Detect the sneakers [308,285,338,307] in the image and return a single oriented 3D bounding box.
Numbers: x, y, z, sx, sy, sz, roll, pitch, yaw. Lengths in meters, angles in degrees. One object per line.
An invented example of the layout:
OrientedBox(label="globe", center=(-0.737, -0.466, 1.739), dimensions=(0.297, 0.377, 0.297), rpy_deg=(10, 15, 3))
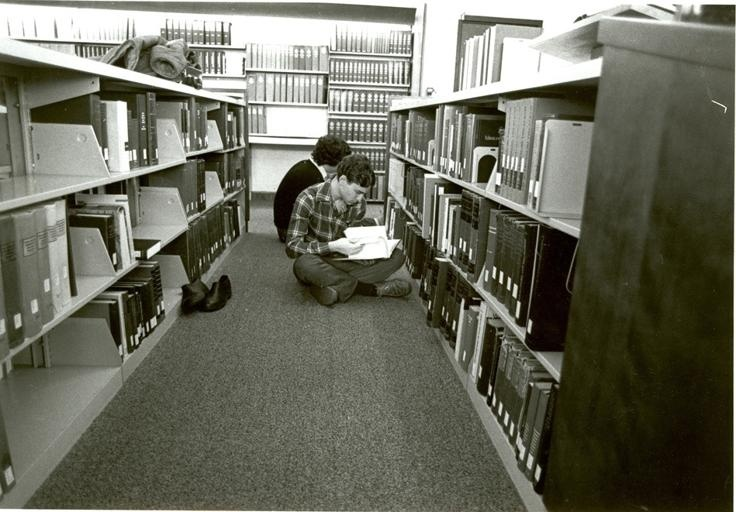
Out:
OrientedBox(label="sneakers", center=(-0.300, 0.262, 3.808), dimensions=(0.115, 0.127, 0.159), rpy_deg=(6, 6, -1))

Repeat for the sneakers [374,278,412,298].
OrientedBox(label="sneakers", center=(0.184, 0.232, 4.003), dimensions=(0.185, 0.083, 0.137), rpy_deg=(-2, 13, -1))
